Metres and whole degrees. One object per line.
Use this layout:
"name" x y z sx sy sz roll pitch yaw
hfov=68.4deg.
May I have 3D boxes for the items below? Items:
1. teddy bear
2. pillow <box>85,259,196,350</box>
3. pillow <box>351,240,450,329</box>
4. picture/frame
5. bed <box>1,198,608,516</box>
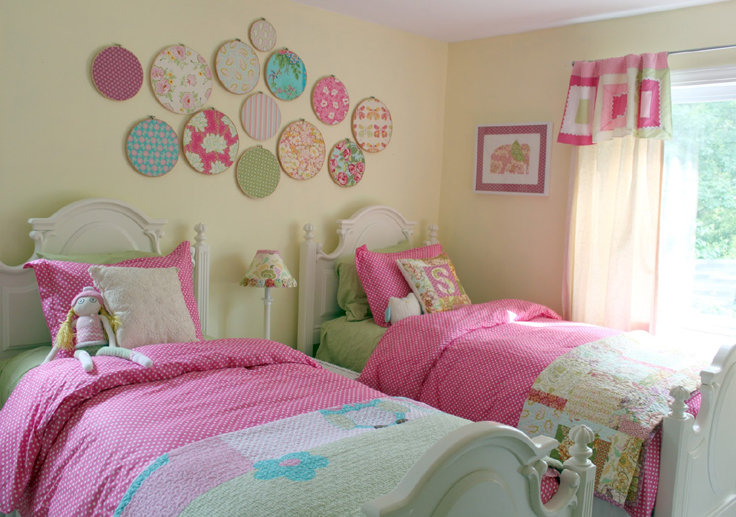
"teddy bear" -1.302 0.319 2.585 0.563 0.386 0.335 4 5 35
"pillow" -1.162 0.246 2.788 0.247 0.458 0.488 -5 -2 43
"pillow" 0.182 0.183 3.602 0.162 0.576 0.553 -20 -10 42
"picture/frame" 1.156 -0.798 4.271 0.598 0.562 0.044 4 2 44
"bed" -0.385 0.454 2.683 1.581 1.049 1.477 4 7 41
